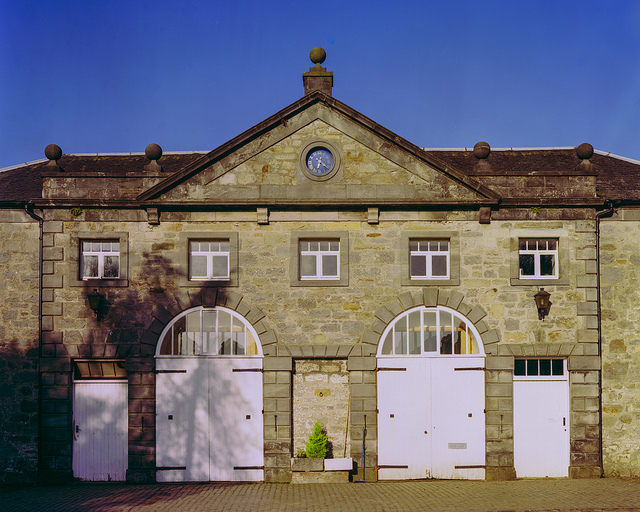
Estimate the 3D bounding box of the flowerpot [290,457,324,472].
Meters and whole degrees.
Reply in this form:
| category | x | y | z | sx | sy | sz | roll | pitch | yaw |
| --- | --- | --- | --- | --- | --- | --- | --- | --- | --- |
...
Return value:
| category | x | y | z | sx | sy | sz | roll | pitch | yaw |
| --- | --- | --- | --- | --- | --- | --- | --- | --- | --- |
| flowerpot | -0.313 | 5.589 | 41.756 | 0.840 | 0.369 | 0.194 | 0 | -8 | -12 |
